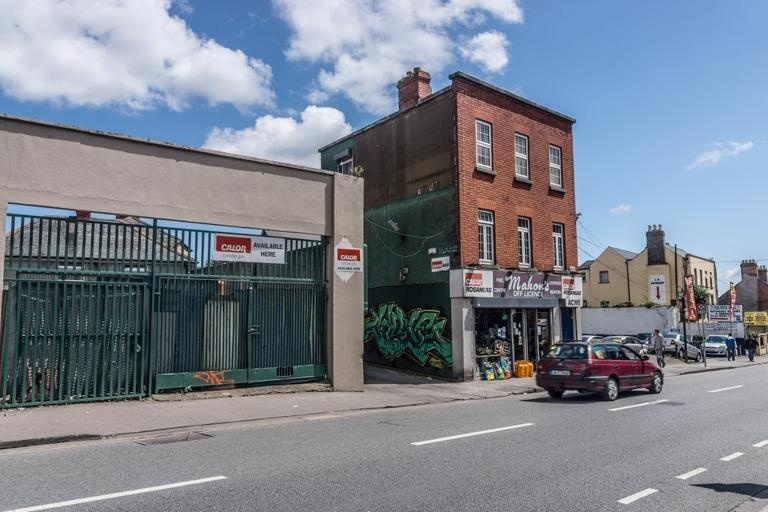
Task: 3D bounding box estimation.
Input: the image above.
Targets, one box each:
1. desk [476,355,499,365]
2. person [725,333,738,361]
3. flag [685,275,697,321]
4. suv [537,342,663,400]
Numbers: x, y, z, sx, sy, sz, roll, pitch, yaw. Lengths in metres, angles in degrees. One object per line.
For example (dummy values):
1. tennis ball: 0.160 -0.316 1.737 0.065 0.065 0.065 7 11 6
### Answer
1. desk: 4.285 4.312 26.617 0.225 0.451 1.501 -10 -13 41
2. person: 21.965 5.934 41.044 0.403 1.476 1.978 -6 -11 25
3. flag: 21.495 2.914 45.577 0.630 3.295 2.719 -5 -11 23
4. suv: 7.099 3.631 21.206 3.416 1.265 1.845 2 -5 -37
